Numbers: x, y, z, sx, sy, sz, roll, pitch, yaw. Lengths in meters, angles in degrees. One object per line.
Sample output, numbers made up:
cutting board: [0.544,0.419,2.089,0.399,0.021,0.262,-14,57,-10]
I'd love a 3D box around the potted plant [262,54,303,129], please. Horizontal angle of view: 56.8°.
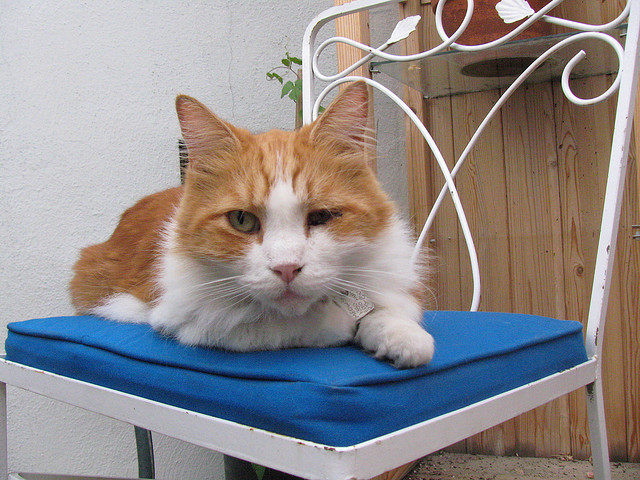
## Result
potted plant: [-0.121,-0.586,2.529,0.175,0.384,0.163,-13,20,-36]

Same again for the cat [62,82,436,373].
cat: [-0.205,-0.050,1.670,0.923,0.506,1.148,-10,16,-26]
